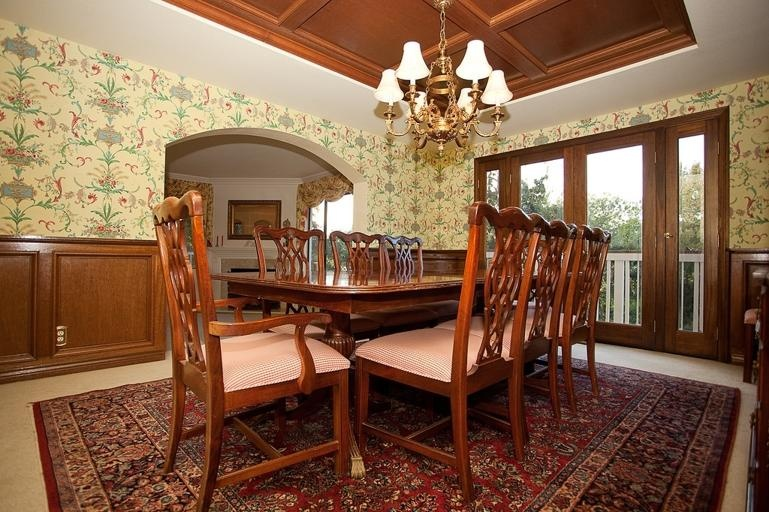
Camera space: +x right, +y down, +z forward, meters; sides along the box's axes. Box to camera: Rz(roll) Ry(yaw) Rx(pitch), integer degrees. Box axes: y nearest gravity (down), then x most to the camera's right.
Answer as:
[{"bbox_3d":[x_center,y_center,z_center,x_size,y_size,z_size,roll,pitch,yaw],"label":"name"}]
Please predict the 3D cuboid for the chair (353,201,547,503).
[{"bbox_3d":[0.861,0.600,4.237,1.607,2.932,1.563,1,-1,41],"label":"chair"}]

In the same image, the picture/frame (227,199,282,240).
[{"bbox_3d":[-2.456,-0.706,8.801,1.092,0.943,0.092,0,0,-5],"label":"picture/frame"}]
